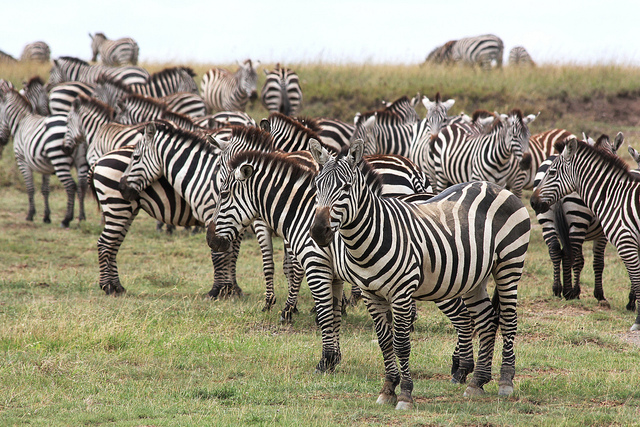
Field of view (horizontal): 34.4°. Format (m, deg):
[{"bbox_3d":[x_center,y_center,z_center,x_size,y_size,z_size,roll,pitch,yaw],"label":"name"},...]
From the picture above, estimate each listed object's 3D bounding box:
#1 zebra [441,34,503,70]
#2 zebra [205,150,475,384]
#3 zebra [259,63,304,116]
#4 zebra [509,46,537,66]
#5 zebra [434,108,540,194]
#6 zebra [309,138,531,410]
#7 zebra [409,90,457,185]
[{"bbox_3d":[4.675,-5.043,32.771,2.680,1.038,1.258,6,5,39],"label":"zebra"},{"bbox_3d":[0.446,0.742,17.284,4.881,3.938,1.498,1,18,15],"label":"zebra"},{"bbox_3d":[-0.961,-3.077,26.097,0.995,1.214,0.878,2,3,-4],"label":"zebra"},{"bbox_3d":[6.594,-5.140,33.710,0.890,0.634,0.725,4,4,27],"label":"zebra"},{"bbox_3d":[3.574,-1.070,23.075,1.125,2.773,3.574,-4,9,-22],"label":"zebra"},{"bbox_3d":[1.599,0.973,16.705,4.611,4.360,1.572,-4,7,-36],"label":"zebra"},{"bbox_3d":[2.440,-1.998,24.790,0.739,1.969,2.411,3,17,-10],"label":"zebra"}]
